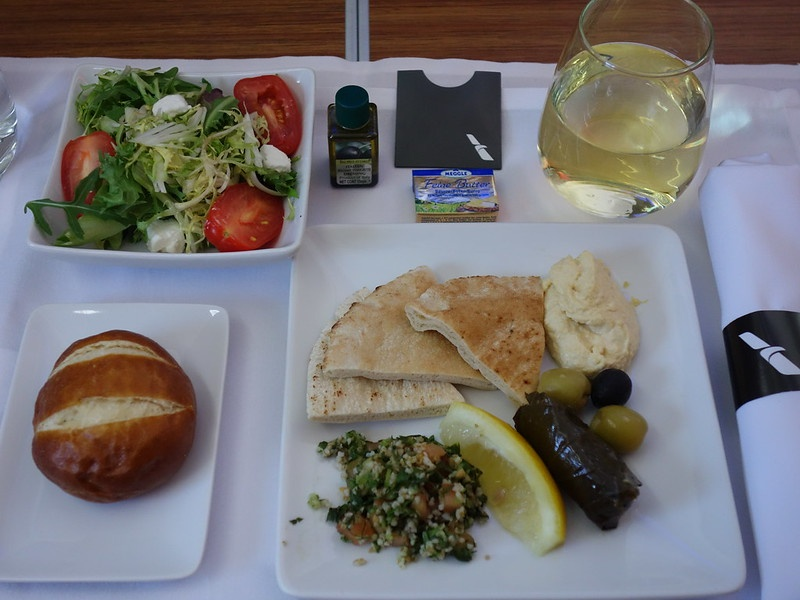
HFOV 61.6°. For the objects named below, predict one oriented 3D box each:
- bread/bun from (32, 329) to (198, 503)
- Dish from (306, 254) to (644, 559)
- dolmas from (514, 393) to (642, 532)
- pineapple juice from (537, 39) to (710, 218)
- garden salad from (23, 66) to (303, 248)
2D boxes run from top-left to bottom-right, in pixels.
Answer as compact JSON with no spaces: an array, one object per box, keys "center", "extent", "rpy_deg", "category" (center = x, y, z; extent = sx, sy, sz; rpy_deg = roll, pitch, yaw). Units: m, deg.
[{"center":[-0.689,0.278,1.618],"extent":[0.359,0.127,0.417],"rpy_deg":[-9,84,-17],"category":"bread/bun"},{"center":[0.208,0.453,1.838],"extent":[0.700,0.209,0.777],"rpy_deg":[0,57,0],"category":"Dish"},{"center":[0.420,0.377,1.607],"extent":[0.150,0.100,0.346],"rpy_deg":[-43,75,-14],"category":"dolmas"},{"center":[0.580,-0.448,1.742],"extent":[0.340,0.530,0.330],"rpy_deg":[13,30,19],"category":"pineapple juice"},{"center":[-0.654,-0.401,1.819],"extent":[0.579,0.169,0.645],"rpy_deg":[0,70,-3],"category":"garden salad"}]
